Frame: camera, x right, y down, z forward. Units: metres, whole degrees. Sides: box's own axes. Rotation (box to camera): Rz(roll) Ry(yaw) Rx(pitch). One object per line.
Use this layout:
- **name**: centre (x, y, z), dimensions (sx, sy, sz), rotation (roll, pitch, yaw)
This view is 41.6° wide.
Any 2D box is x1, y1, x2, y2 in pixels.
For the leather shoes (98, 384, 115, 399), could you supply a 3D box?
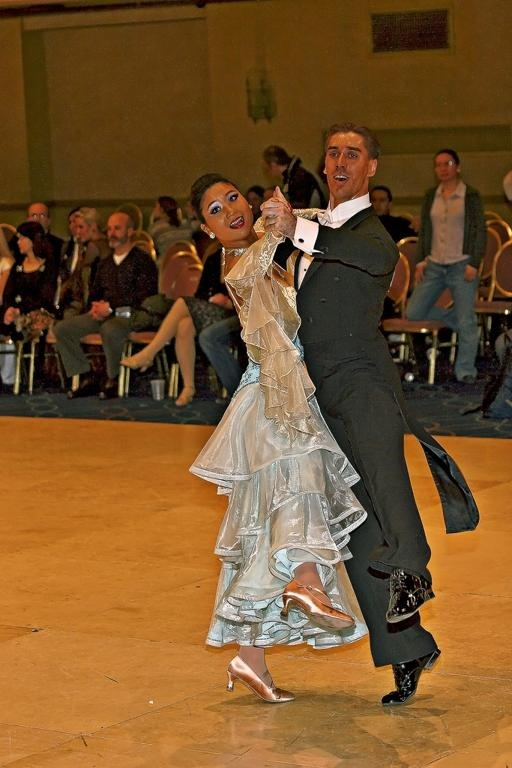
- **leather shoes**: centre (-1.552, 0.087, 7.075), dimensions (0.143, 0.164, 0.096), rotation (4, -31, 7)

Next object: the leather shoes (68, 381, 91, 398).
- **leather shoes**: centre (-1.885, 0.061, 7.248), dimensions (0.176, 0.083, 0.210), rotation (-7, 12, 20)

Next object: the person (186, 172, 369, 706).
- **person**: centre (0.026, 0.108, 1.485), dimensions (0.439, 1.257, 0.379), rotation (-2, -2, 21)

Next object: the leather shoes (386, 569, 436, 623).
- **leather shoes**: centre (0.322, 0.437, 1.398), dimensions (0.061, 0.067, 0.170), rotation (-10, 0, 23)
